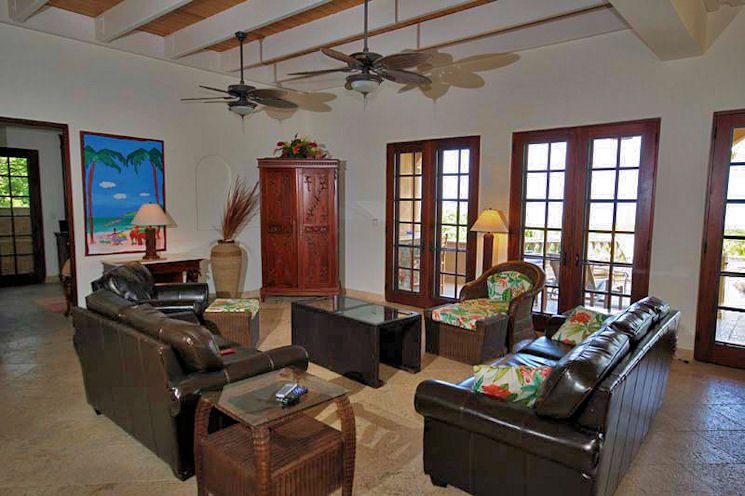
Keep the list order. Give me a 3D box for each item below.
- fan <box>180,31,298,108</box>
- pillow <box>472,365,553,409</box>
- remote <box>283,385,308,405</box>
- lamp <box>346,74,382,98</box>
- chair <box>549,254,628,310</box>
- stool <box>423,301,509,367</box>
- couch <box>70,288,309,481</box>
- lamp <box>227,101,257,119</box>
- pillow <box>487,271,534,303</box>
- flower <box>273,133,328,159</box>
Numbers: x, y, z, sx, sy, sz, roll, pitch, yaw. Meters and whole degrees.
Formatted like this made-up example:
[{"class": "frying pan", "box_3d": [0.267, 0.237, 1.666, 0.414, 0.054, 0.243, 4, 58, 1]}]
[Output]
[{"class": "fan", "box_3d": [-1.748, -2.368, 6.697, 1.409, 0.860, 1.295, -6, 32, -30]}, {"class": "pillow", "box_3d": [1.104, 1.085, 3.946, 0.496, 0.308, 0.148, 11, -16, 17]}, {"class": "remote", "box_3d": [-0.619, 1.180, 3.984, 0.110, 0.043, 0.139, 0, 3, 19]}, {"class": "lamp", "box_3d": [-0.121, -1.829, 5.569, 0.297, 0.198, 0.383, -2, 5, -30]}, {"class": "chair", "box_3d": [2.972, 0.515, 6.599, 0.706, 0.439, 0.397, 1, 3, 40]}, {"class": "stool", "box_3d": [1.194, 0.950, 6.093, 0.812, 0.544, 0.800, 3, 4, 45]}, {"class": "couch", "box_3d": [-1.697, 0.998, 4.826, 2.487, 1.358, 1.513, 7, 12, 39]}, {"class": "lamp", "box_3d": [-1.708, -1.844, 6.668, 0.282, 0.152, 0.253, 2, 9, 15]}, {"class": "pillow", "box_3d": [1.774, 0.496, 6.523, 0.379, 0.146, 0.453, 11, 21, 34]}, {"class": "flower", "box_3d": [-1.205, -1.748, 8.595, 0.956, 0.523, 0.842, 0, 4, -10]}]
